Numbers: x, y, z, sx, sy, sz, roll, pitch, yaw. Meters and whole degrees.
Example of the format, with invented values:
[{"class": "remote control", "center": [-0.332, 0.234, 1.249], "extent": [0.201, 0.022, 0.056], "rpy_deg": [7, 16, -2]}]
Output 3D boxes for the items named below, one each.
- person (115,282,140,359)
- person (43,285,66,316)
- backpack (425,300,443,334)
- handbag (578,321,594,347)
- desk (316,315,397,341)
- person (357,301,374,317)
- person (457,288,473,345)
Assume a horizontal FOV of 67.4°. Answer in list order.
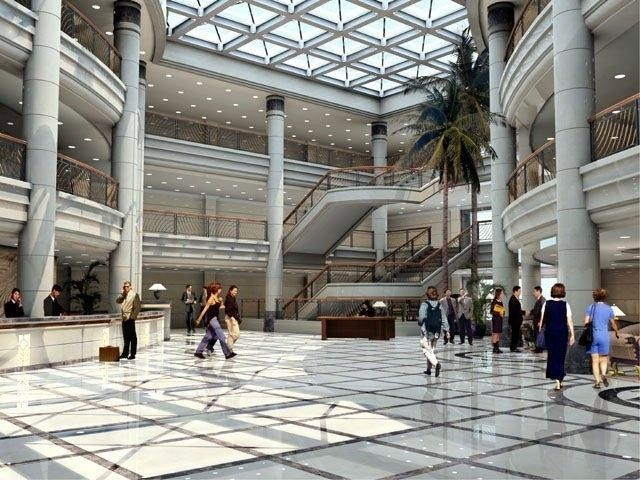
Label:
[{"class": "person", "center": [-5.115, 2.156, 12.764], "extent": [0.548, 2.059, 1.439], "rpy_deg": [5, -8, -21]}, {"class": "person", "center": [-7.057, 1.620, 12.732], "extent": [0.450, 0.820, 1.575], "rpy_deg": [6, -9, -29]}, {"class": "backpack", "center": [2.378, 1.642, 10.014], "extent": [0.392, 0.673, 0.207], "rpy_deg": [6, -9, -30]}, {"class": "handbag", "center": [4.808, 1.745, 8.663], "extent": [0.235, 0.475, 0.522], "rpy_deg": [-3, -9, 28]}, {"class": "desk", "center": [1.548, 3.697, 19.877], "extent": [2.922, 0.954, 0.895], "rpy_deg": [1, -8, 4]}, {"class": "person", "center": [2.020, 2.969, 20.600], "extent": [0.514, 0.709, 1.982], "rpy_deg": [1, -8, 7]}, {"class": "person", "center": [5.285, 2.850, 17.544], "extent": [0.432, 1.958, 0.881], "rpy_deg": [1, -8, 3]}]
